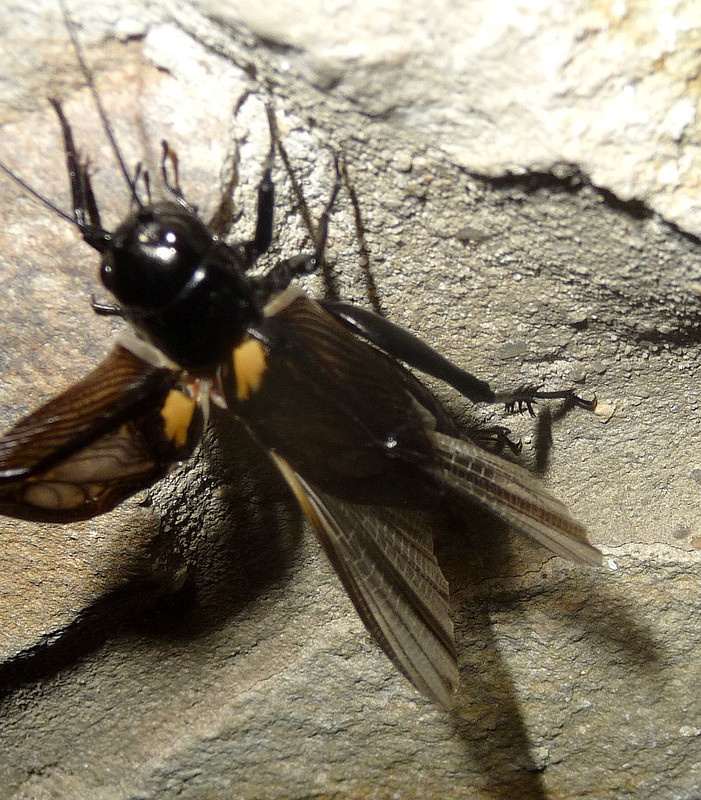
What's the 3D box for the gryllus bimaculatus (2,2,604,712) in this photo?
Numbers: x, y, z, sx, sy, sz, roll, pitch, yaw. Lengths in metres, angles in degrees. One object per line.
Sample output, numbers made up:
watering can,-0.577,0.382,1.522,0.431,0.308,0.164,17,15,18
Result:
gryllus bimaculatus,-0.292,-0.049,2.105,1.015,1.310,0.354,-46,10,-4
